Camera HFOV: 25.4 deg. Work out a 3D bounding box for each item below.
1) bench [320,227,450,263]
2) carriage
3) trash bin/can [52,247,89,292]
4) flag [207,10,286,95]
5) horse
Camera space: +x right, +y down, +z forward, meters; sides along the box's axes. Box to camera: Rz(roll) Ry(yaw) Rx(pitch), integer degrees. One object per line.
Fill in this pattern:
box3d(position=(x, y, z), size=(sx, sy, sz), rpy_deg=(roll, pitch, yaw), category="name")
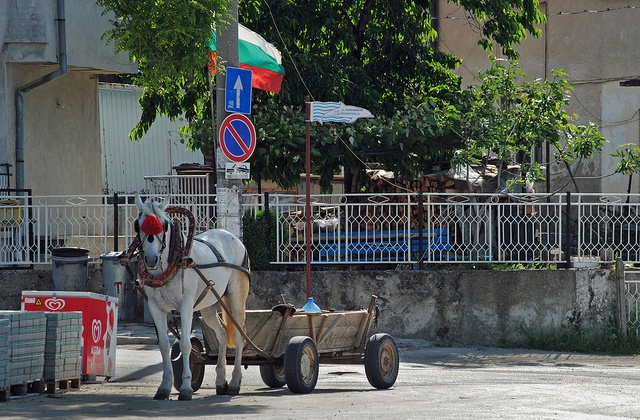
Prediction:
box3d(position=(1.542, 0.932, 37.621), size=(3.488, 0.959, 1.560), rpy_deg=(0, 2, -4), category="bench")
box3d(position=(-1.282, 2.244, 33.957), size=(6.730, 4.833, 2.384), rpy_deg=(0, 0, -7), category="carriage")
box3d(position=(-6.542, 1.594, 37.121), size=(0.926, 1.071, 1.012), rpy_deg=(1, -3, -10), category="trash bin/can")
box3d(position=(-1.595, -3.983, 37.610), size=(1.314, 1.717, 0.438), rpy_deg=(0, -3, -29), category="flag")
box3d(position=(-2.886, 2.212, 32.190), size=(1.281, 4.428, 4.161), rpy_deg=(-4, -5, 30), category="horse")
